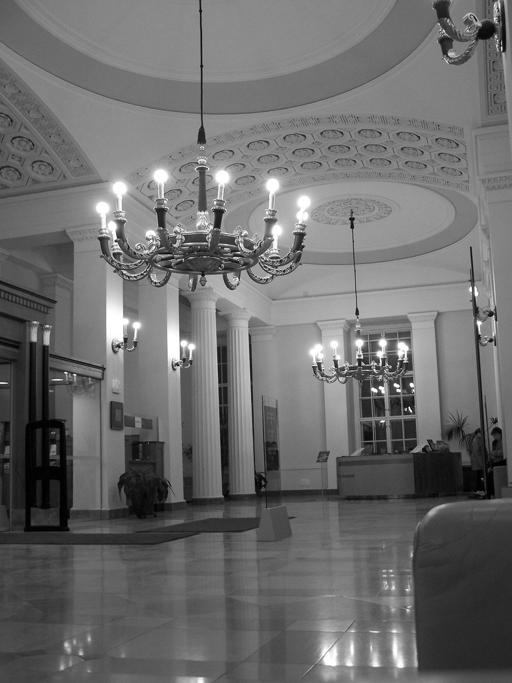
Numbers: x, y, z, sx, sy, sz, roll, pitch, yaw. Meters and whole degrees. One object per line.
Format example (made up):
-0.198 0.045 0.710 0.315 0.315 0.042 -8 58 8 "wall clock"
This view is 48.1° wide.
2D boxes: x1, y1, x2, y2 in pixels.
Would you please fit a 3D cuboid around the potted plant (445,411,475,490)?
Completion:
5.911 3.105 16.613 0.791 2.257 1.106 -5 -14 18 "potted plant"

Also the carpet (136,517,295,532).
-0.688 2.647 8.273 1.439 0.055 2.057 -3 -13 7 "carpet"

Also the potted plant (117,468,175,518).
-1.946 2.736 10.038 0.458 0.845 0.830 -5 20 -30 "potted plant"
